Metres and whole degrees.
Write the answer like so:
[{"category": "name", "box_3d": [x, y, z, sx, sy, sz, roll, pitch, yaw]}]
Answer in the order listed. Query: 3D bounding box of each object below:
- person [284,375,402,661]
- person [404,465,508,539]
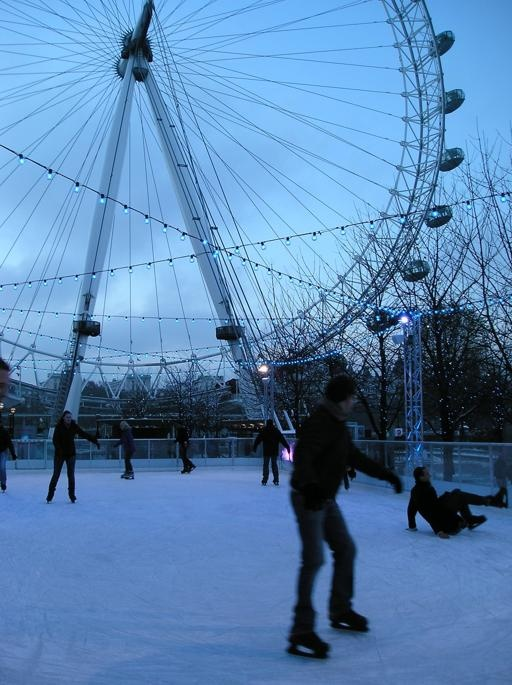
[{"category": "person", "box_3d": [0.415, 0.933, 3.102, 0.531, 1.508, 0.922, -6, -7, 25]}, {"category": "person", "box_3d": [2.588, 2.056, 7.349, 1.231, 0.954, 0.769, -1, -6, -12]}]
